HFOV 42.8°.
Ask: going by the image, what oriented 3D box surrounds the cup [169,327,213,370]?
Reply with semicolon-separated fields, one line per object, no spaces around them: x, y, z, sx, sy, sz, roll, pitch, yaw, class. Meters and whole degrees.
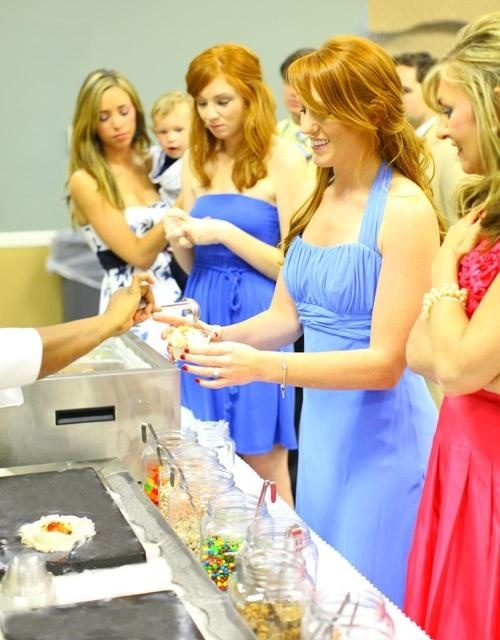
-0.151;0.065;1.586;0.105;0.053;0.100;1;2;0;cup
